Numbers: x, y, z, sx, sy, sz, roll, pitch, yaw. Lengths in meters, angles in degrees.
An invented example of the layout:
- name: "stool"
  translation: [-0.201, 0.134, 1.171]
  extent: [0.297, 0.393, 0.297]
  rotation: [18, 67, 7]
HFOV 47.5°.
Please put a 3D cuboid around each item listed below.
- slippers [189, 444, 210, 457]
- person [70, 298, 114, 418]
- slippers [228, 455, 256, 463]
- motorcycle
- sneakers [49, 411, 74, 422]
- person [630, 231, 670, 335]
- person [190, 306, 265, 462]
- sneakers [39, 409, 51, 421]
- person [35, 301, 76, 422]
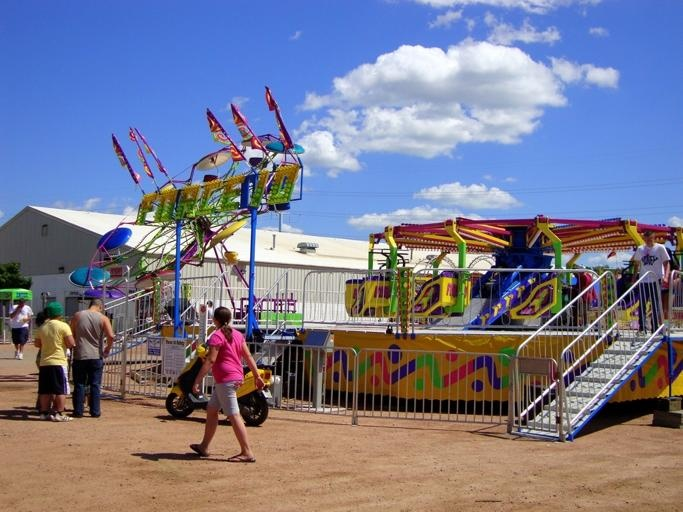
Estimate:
- name: "slippers"
  translation: [-2.040, 2.769, 11.029]
  extent: [0.324, 0.102, 0.123]
  rotation: [27, -3, 42]
- name: "person"
  translation: [-4.395, 1.781, 13.503]
  extent: [0.667, 2.010, 0.565]
  rotation: [1, 2, -20]
- name: "slippers"
  translation: [-1.425, 2.830, 10.827]
  extent: [0.276, 0.089, 0.149]
  rotation: [5, -5, 0]
- name: "motorcycle"
  translation: [-2.159, 2.196, 13.572]
  extent: [1.960, 1.460, 0.783]
  rotation: [2, 1, 13]
- name: "sneakers"
  translation: [-4.707, 2.671, 12.973]
  extent: [0.380, 0.177, 0.145]
  rotation: [3, -1, -4]
- name: "person"
  translation: [5.942, 0.480, 14.872]
  extent: [0.619, 1.943, 0.874]
  rotation: [2, 2, 23]
- name: "person"
  translation: [-1.646, 1.794, 11.005]
  extent: [0.933, 2.161, 0.847]
  rotation: [1, 1, -8]
- name: "sneakers"
  translation: [-5.023, 2.643, 13.005]
  extent: [0.304, 0.157, 0.126]
  rotation: [3, 2, 40]
- name: "person"
  translation: [-4.873, 1.757, 13.081]
  extent: [0.738, 1.941, 0.414]
  rotation: [2, 2, 22]
